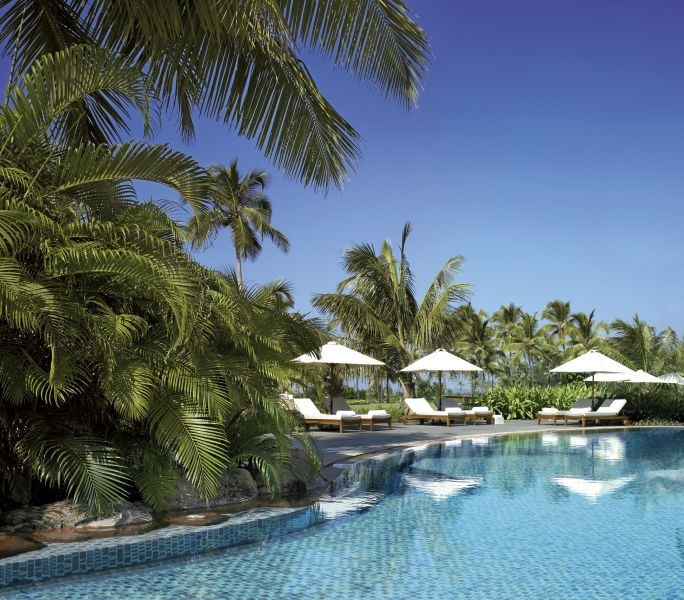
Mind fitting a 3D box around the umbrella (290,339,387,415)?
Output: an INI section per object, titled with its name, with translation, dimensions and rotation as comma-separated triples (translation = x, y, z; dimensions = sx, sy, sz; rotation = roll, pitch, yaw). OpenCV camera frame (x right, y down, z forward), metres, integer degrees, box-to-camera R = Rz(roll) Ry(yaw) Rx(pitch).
[umbrella]
translation = -0.291, 2.206, 17.728
dimensions = 1.854, 2.025, 1.476
rotation = 13, -44, -1
